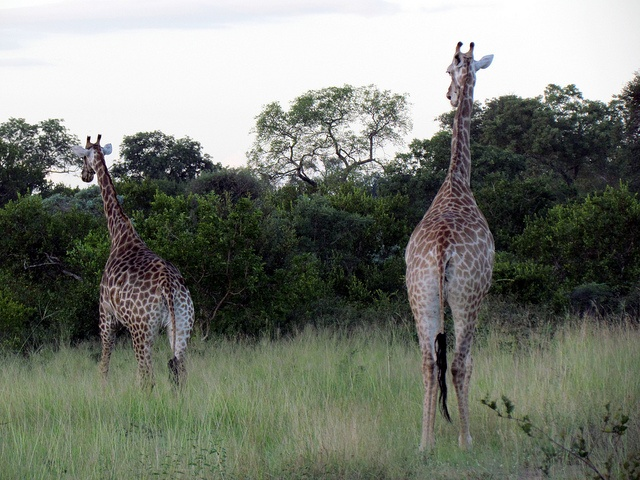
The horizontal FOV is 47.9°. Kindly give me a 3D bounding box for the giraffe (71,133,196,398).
[{"bbox_3d":[-3.402,0.280,13.343,2.163,4.780,0.897,-5,-9,33],"label":"giraffe"}]

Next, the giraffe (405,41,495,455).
[{"bbox_3d":[2.126,-0.091,11.753,1.353,6.843,0.876,4,-9,-24],"label":"giraffe"}]
